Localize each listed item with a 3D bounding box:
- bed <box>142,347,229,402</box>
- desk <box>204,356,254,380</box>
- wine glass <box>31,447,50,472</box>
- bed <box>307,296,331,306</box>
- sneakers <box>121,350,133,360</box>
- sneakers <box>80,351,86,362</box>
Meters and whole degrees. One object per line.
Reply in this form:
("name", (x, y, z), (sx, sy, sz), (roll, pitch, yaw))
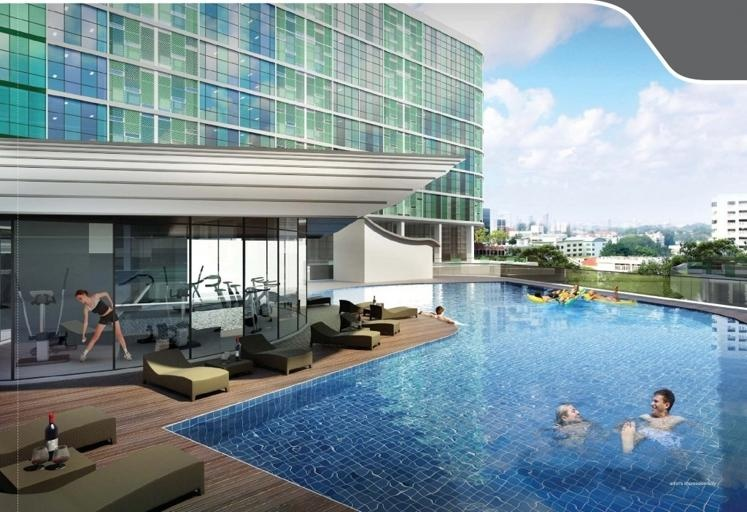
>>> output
("bed", (-3.966, 2.455, 10.286), (1.836, 0.622, 0.757), (7, 11, 32))
("desk", (-3.222, 2.443, 11.022), (0.613, 0.201, 0.656), (1, 1, 39))
("wine glass", (-4.799, 2.902, 7.066), (0.303, 0.271, 0.254), (-1, 1, -17))
("bed", (-2.370, 1.937, 21.264), (1.118, 0.388, 0.444), (-4, 11, -33))
("sneakers", (-5.883, 2.353, 11.714), (0.188, 0.210, 0.227), (-3, 11, -26))
("sneakers", (-6.688, 2.299, 11.323), (0.145, 0.211, 0.097), (-5, 12, -34))
